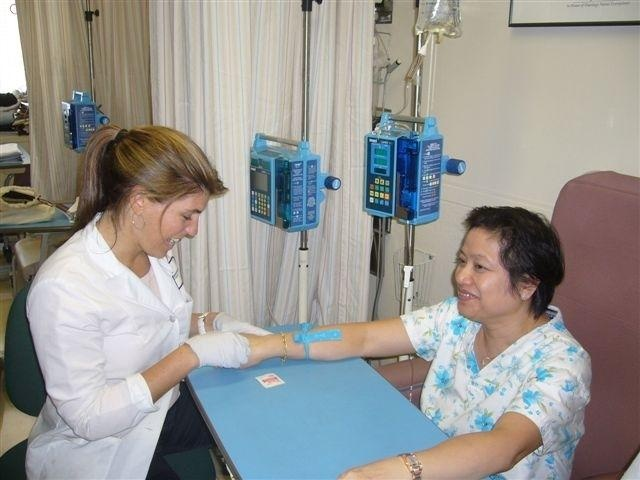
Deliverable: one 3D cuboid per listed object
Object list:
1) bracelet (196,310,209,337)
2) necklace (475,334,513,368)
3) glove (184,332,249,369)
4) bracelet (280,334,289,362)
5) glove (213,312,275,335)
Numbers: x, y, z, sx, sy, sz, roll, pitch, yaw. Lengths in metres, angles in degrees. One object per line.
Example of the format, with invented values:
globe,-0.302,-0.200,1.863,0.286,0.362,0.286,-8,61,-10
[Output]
bracelet,-0.422,0.296,1.812,0.057,0.083,0.030,4,-11,-11
necklace,0.513,0.327,1.543,0.101,0.106,0.083,11,8,5
glove,-0.310,0.331,1.535,0.136,0.052,0.107,7,43,-31
bracelet,-0.112,0.343,1.623,0.019,0.060,0.047,-2,1,13
glove,-0.300,0.318,1.952,0.213,0.068,0.068,18,-14,26
